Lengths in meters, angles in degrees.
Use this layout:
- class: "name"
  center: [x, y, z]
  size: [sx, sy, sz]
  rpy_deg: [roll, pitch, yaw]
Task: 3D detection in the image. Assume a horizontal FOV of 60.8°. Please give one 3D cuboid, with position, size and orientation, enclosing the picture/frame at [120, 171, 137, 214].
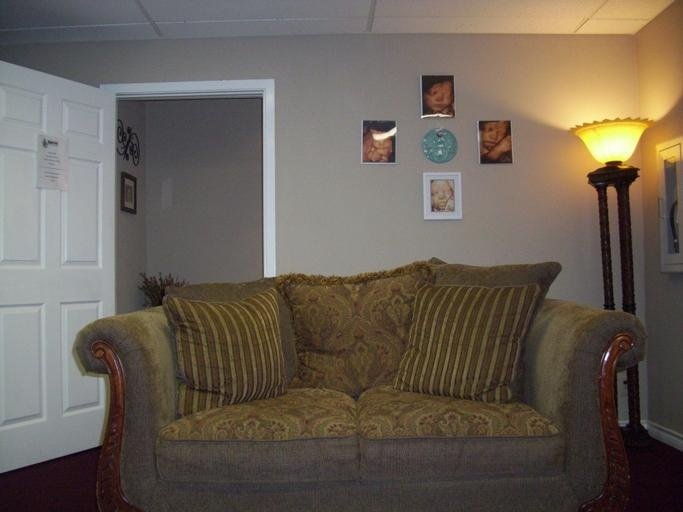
- class: "picture/frame"
  center: [-1.899, -0.555, 5.231]
  size: [0.029, 0.355, 0.318]
  rpy_deg: [-6, 16, -43]

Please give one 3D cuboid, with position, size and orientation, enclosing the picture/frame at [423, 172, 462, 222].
- class: "picture/frame"
  center: [0.741, -0.426, 4.270]
  size: [0.315, 0.424, 0.017]
  rpy_deg: [0, -4, -4]

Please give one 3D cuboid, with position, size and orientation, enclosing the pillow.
- class: "pillow"
  center: [0.046, 0.546, 4.297]
  size: [1.994, 0.831, 0.844]
  rpy_deg: [-1, -5, -3]
